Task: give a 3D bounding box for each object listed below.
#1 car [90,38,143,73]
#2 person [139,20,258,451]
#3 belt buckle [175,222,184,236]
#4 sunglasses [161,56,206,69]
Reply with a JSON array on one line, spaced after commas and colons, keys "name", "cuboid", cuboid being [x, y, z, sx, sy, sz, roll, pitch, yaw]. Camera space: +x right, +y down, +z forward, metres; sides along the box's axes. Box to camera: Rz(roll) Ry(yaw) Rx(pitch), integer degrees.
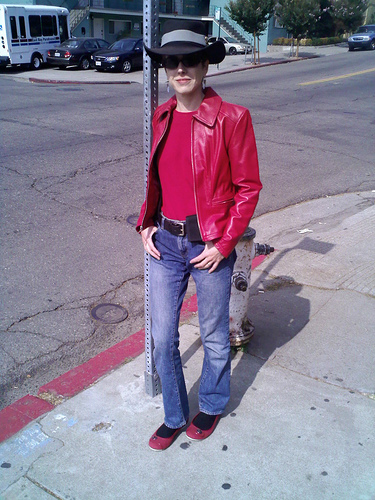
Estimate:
[{"name": "car", "cuboid": [-3.643, -10.583, 22.589, 2.732, 1.822, 1.405, -14, 25, -37]}, {"name": "person", "cuboid": [0.039, -0.053, 2.204, 0.572, 2.064, 0.891, -1, 21, -3]}, {"name": "belt buckle", "cuboid": [-0.040, -0.094, 1.913, 0.044, 0.053, 0.020, 2, 5, 25]}, {"name": "sunglasses", "cuboid": [-0.016, -0.836, 1.862, 0.196, 0.058, 0.139, 0, 19, -2]}]
